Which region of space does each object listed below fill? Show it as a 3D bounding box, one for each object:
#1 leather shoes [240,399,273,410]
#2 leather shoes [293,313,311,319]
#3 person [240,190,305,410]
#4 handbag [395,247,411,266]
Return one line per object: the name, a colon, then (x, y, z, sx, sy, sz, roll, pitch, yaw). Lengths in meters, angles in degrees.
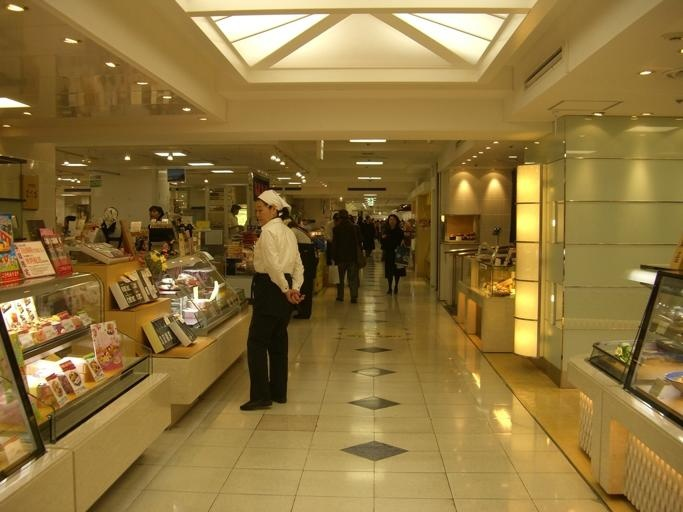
leather shoes: (-0.820, 1.423, 4.657, 0.294, 0.115, 0.104, 3, -3, -5)
leather shoes: (-0.742, 1.090, 8.752, 0.334, 0.135, 0.111, 6, 3, 6)
person: (-0.674, 0.414, 4.639, 0.637, 2.093, 0.471, -3, 6, -31)
handbag: (1.392, -0.008, 11.114, 0.410, 0.510, 0.206, 5, 11, 27)
